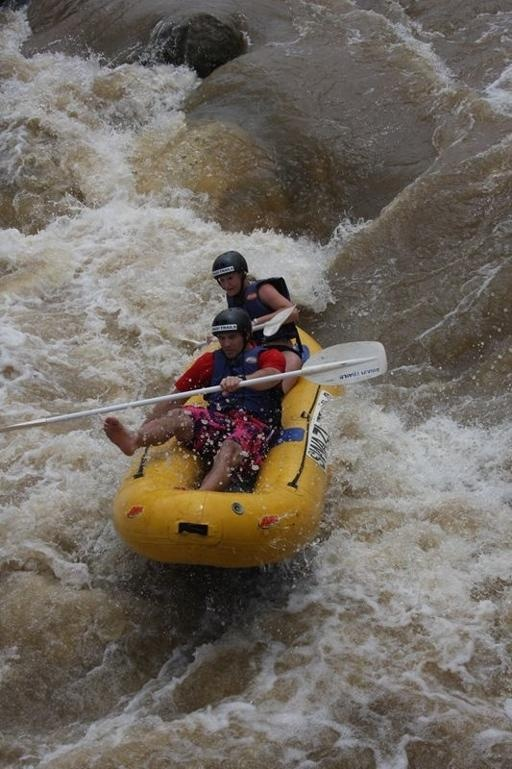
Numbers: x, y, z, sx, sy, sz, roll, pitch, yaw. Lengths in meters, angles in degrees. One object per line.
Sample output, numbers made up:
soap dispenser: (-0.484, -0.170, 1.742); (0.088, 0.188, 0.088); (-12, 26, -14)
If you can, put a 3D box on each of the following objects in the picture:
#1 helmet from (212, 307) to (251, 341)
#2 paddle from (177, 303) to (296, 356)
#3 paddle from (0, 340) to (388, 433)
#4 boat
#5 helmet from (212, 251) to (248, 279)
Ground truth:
helmet: (-0.165, -0.429, 6.845); (0.194, 0.167, 0.242); (4, 16, 20)
paddle: (-0.119, -0.401, 7.475); (0.148, 0.167, 1.379); (18, 24, 30)
paddle: (-0.434, 0.044, 7.319); (3.355, 0.386, 0.126); (-9, 16, -8)
boat: (-0.053, 0.413, 7.107); (1.341, 0.618, 2.468); (3, 32, 13)
helmet: (-0.205, -0.923, 7.612); (0.266, 0.213, 0.249); (-12, 31, -11)
